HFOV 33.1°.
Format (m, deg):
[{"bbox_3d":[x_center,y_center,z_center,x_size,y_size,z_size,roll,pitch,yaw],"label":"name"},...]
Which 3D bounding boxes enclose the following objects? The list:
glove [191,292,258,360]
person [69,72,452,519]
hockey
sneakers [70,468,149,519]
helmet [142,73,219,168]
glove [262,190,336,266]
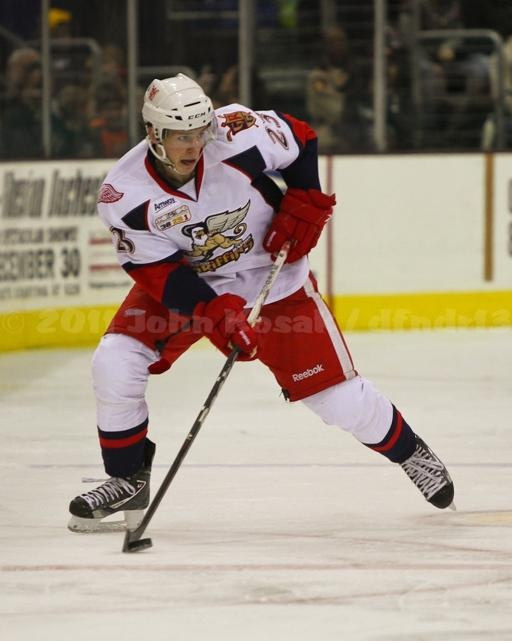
[{"bbox_3d":[-0.082,0.018,2.264,0.164,0.179,0.167,-1,8,-3],"label":"glove"},{"bbox_3d":[-0.027,-0.050,2.350,0.995,1.206,0.345,-2,9,-10],"label":"person"},{"bbox_3d":[-0.142,0.239,2.543,0.151,0.943,0.132,35,-5,-25],"label":"hockey"},{"bbox_3d":[-0.374,0.461,2.323,0.266,0.120,0.092,4,5,-25],"label":"sneakers"},{"bbox_3d":[-0.198,-0.513,2.172,0.152,0.243,0.202,-4,9,-22],"label":"helmet"},{"bbox_3d":[0.101,-0.253,2.426,0.175,0.219,0.079,24,-4,-15],"label":"glove"}]
